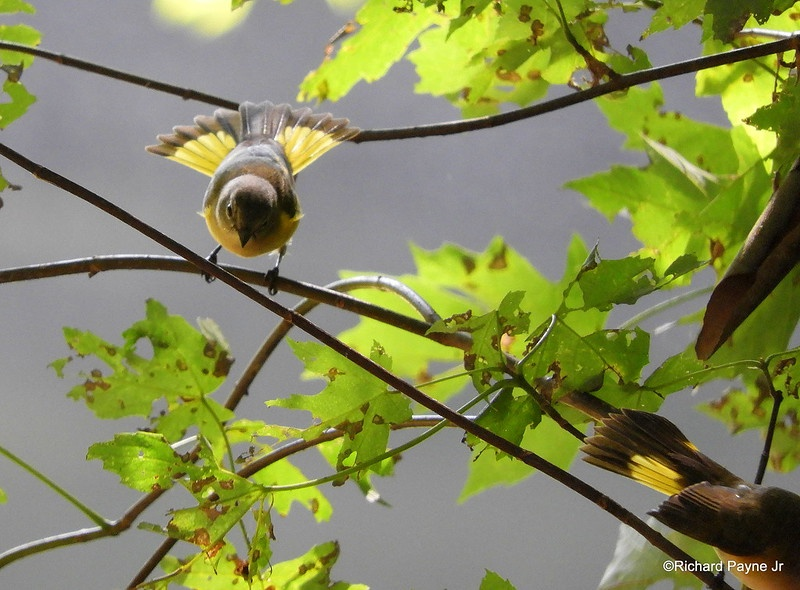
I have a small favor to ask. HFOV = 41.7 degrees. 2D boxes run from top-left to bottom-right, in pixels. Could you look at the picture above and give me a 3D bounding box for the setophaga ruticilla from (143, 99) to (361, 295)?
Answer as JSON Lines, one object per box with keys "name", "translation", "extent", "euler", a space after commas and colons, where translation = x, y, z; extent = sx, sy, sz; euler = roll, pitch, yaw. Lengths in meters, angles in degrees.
{"name": "setophaga ruticilla", "translation": [-0.286, -0.249, 2.003], "extent": [0.360, 0.415, 0.224], "euler": [5, -63, -6]}
